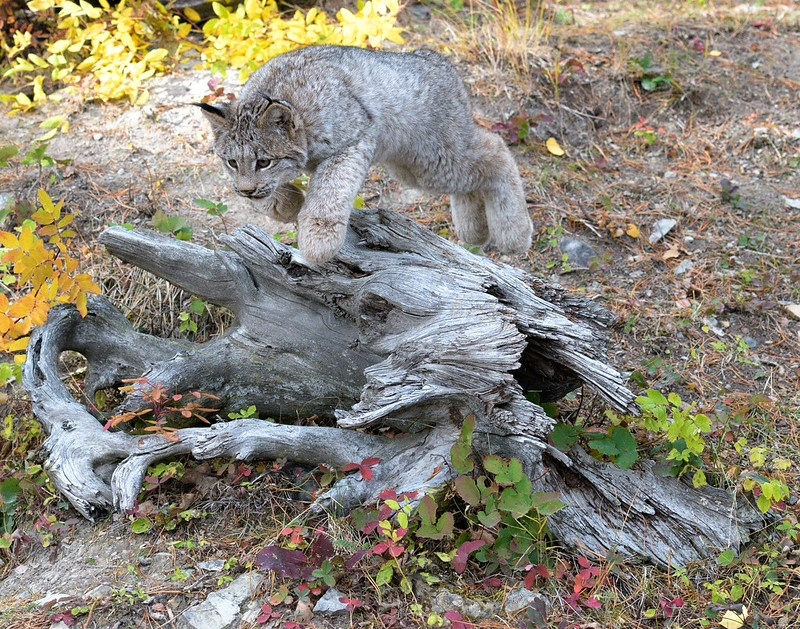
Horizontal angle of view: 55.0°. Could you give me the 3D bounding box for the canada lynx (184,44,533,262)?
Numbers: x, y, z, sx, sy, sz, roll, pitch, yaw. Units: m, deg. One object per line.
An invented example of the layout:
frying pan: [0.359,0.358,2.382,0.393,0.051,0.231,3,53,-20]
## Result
canada lynx: [-0.230,-0.960,4.783,2.235,1.203,0.785,-14,13,-34]
